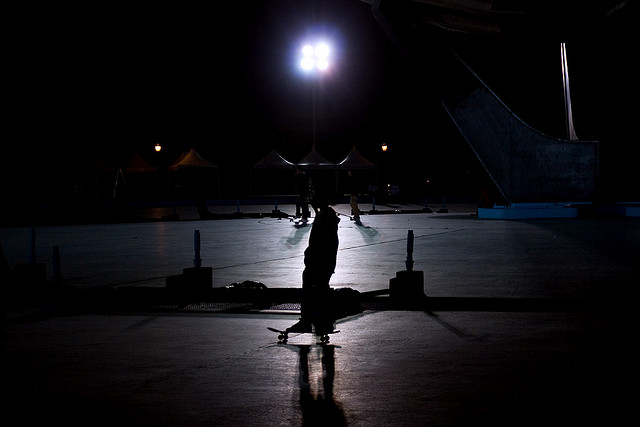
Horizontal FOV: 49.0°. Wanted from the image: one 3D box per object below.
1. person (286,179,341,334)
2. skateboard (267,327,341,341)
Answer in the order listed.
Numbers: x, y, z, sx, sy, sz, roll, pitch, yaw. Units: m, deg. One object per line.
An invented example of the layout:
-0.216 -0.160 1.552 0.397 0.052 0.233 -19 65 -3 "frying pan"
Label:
-0.015 0.707 11.507 0.719 2.532 0.783 0 -5 19 "person"
-0.290 1.941 11.210 1.022 0.166 0.368 0 -4 5 "skateboard"
